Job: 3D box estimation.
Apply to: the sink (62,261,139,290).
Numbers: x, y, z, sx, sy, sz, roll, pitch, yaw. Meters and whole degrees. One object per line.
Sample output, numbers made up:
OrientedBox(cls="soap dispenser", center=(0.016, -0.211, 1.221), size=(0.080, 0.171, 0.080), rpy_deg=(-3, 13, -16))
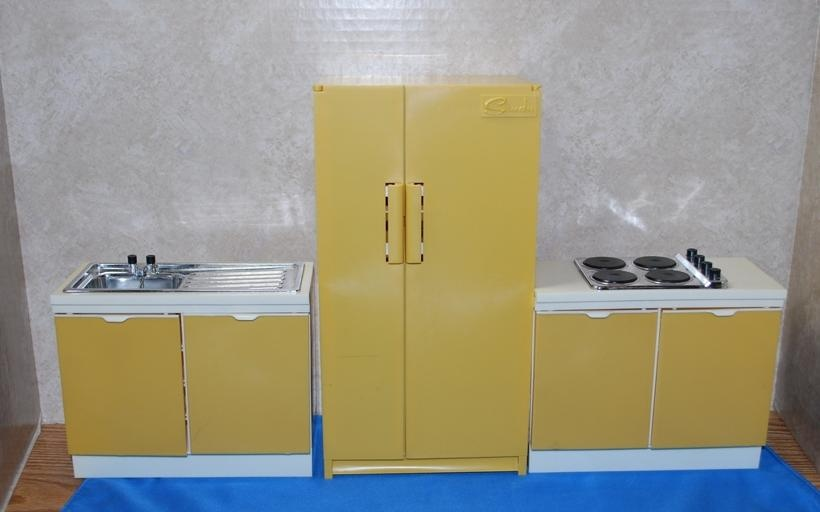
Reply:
OrientedBox(cls="sink", center=(-1.937, 0.139, 4.860), size=(0.255, 0.144, 0.235), rpy_deg=(2, 10, -4))

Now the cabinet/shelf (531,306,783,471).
OrientedBox(cls="cabinet/shelf", center=(1.363, 0.798, 5.159), size=(1.894, 1.176, 0.901), rpy_deg=(3, 1, -23))

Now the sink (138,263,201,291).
OrientedBox(cls="sink", center=(-1.537, 0.143, 4.783), size=(0.370, 0.141, 0.435), rpy_deg=(-4, 7, -14))

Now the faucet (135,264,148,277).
OrientedBox(cls="faucet", center=(-1.751, 0.099, 4.931), size=(0.056, 0.085, 0.092), rpy_deg=(-5, 11, 15))
